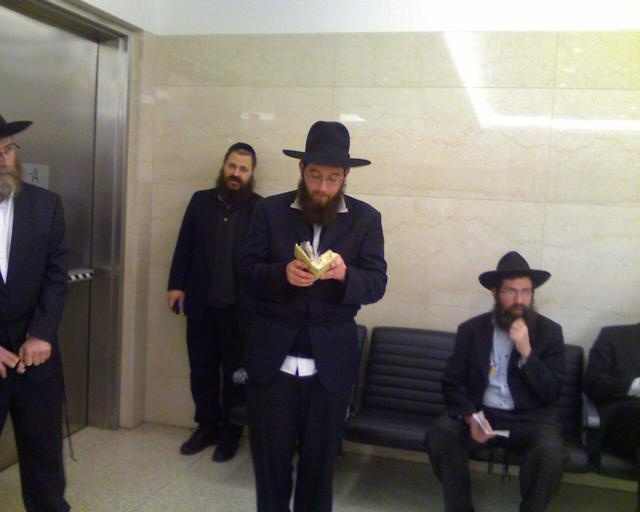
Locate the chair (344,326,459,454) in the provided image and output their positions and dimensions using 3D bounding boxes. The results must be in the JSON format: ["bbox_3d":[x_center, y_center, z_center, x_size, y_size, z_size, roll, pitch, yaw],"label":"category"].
[{"bbox_3d":[0.574,0.860,3.948,0.901,0.776,0.752,2,-4,16],"label":"chair"}]

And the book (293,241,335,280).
[{"bbox_3d":[-0.023,0.015,2.763,0.180,0.175,0.157,5,14,16],"label":"book"}]

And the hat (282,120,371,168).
[{"bbox_3d":[0.063,-0.568,2.926,0.337,0.131,0.249,11,9,37],"label":"hat"}]

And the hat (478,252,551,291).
[{"bbox_3d":[1.275,0.052,3.734,0.382,0.165,0.437,-5,0,19],"label":"hat"}]

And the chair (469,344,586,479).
[{"bbox_3d":[1.321,1.018,3.856,0.696,0.934,0.794,-4,-22,28],"label":"chair"}]

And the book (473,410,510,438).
[{"bbox_3d":[1.037,1.011,3.465,0.188,0.076,0.132,15,0,8],"label":"book"}]
